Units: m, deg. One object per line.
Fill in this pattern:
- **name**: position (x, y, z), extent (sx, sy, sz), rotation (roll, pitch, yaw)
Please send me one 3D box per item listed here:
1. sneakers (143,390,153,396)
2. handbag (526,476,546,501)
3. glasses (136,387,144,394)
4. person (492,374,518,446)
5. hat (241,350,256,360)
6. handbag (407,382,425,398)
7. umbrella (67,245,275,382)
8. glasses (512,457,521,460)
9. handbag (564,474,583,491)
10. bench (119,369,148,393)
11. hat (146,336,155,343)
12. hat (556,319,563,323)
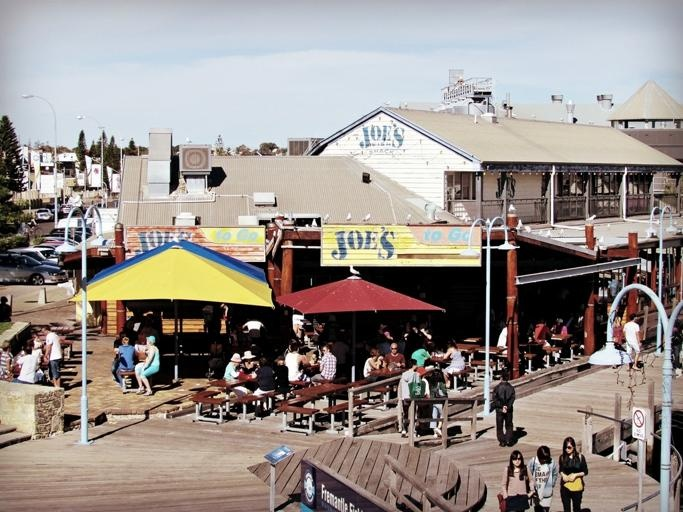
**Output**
- **sneakers**: position (-5.539, 3.937, 30.712), extent (0.267, 0.151, 0.349), rotation (-2, 0, -6)
- **handbag**: position (4.364, 5.243, 24.073), extent (0.377, 0.556, 0.196), rotation (-1, -3, -5)
- **glasses**: position (-5.755, 3.913, 30.823), extent (0.263, 0.176, 0.095), rotation (2, 1, 32)
- **person**: position (4.199, 4.085, 27.547), extent (0.497, 1.770, 0.423), rotation (-2, 0, 5)
- **hat**: position (-2.590, 2.858, 30.412), extent (0.360, 0.149, 0.374), rotation (-6, -5, 26)
- **handbag**: position (1.928, 3.460, 27.388), extent (0.407, 0.442, 0.323), rotation (-3, -4, -2)
- **umbrella**: position (-4.715, 0.563, 32.173), extent (4.446, 3.234, 4.539), rotation (-2, 12, -2)
- **glasses**: position (3.894, 4.514, 23.731), extent (0.132, 0.043, 0.033), rotation (-2, 0, 9)
- **handbag**: position (5.301, 5.209, 24.385), extent (0.396, 0.317, 0.155), rotation (-2, 0, -9)
- **bench**: position (-6.075, 3.658, 31.070), extent (0.590, 0.427, 0.850), rotation (-2, 6, -25)
- **hat**: position (-5.444, 2.423, 30.744), extent (0.189, 0.232, 0.239), rotation (-4, 28, -35)
- **hat**: position (7.620, 2.319, 37.313), extent (0.159, 0.118, 0.160), rotation (1, 11, 9)
